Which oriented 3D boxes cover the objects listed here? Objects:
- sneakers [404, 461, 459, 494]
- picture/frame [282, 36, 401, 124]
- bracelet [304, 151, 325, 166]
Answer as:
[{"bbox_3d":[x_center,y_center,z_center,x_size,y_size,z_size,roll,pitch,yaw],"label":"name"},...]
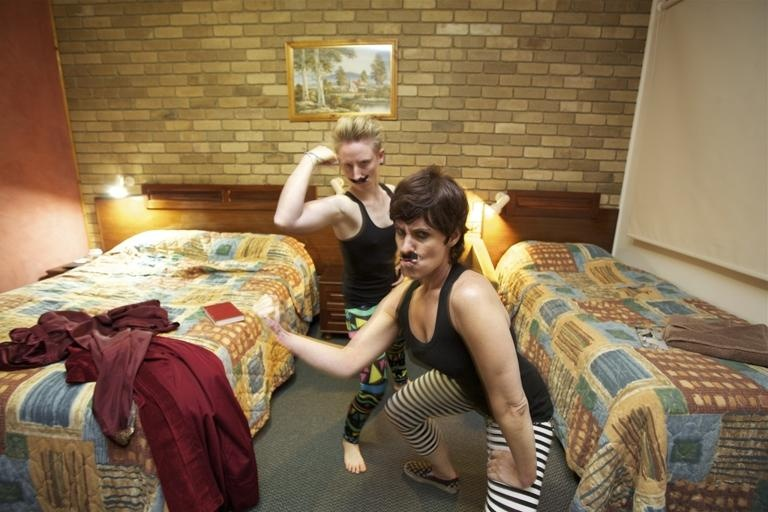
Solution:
[{"bbox_3d":[0.277,1.383,3.211,0.378,0.141,0.137,14,13,20],"label":"sneakers"},{"bbox_3d":[-0.350,-1.642,4.559,1.470,0.938,0.066,0,18,4],"label":"picture/frame"},{"bbox_3d":[-0.435,-0.602,3.107,0.091,0.032,0.089,30,11,6],"label":"bracelet"}]
